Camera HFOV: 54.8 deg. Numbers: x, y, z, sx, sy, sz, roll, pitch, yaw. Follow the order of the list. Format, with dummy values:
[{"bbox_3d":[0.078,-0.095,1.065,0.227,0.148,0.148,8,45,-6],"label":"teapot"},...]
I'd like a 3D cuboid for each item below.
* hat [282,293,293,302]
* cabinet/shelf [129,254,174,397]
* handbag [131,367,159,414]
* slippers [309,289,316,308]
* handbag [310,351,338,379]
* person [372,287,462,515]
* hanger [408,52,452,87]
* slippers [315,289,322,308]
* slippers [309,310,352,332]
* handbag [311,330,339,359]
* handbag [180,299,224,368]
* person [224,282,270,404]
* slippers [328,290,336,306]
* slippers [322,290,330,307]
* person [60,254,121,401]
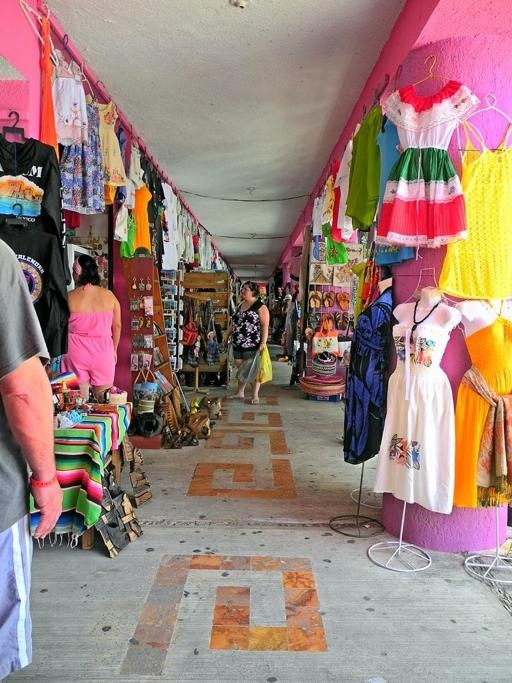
[{"bbox_3d":[0.752,-0.999,11.366,0.243,0.083,0.231,-4,-2,28],"label":"hat"},{"bbox_3d":[-0.985,-0.159,4.732,0.526,1.288,0.486,-1,4,-29],"label":"cabinet/shelf"},{"bbox_3d":[-0.993,0.457,4.469,0.231,0.390,0.302,0,3,-14],"label":"handbag"},{"bbox_3d":[0.827,-0.600,7.083,0.105,0.197,0.069,1,3,5],"label":"slippers"},{"bbox_3d":[0.915,0.313,6.596,0.254,0.359,0.353,1,-5,-1],"label":"handbag"},{"bbox_3d":[0.782,0.263,2.373,0.360,1.037,0.240,3,4,29],"label":"person"},{"bbox_3d":[0.822,-1.314,2.417,0.083,0.154,0.198,-1,4,-37],"label":"hanger"},{"bbox_3d":[0.902,-0.614,7.089,0.114,0.213,0.074,0,4,-2],"label":"slippers"},{"bbox_3d":[1.068,-0.258,6.877,0.383,0.163,0.539,0,41,0],"label":"slippers"},{"bbox_3d":[0.924,0.045,6.524,0.346,0.360,0.135,1,15,3],"label":"handbag"},{"bbox_3d":[-0.839,-0.105,7.181,0.502,1.024,1.151,2,3,10],"label":"handbag"},{"bbox_3d":[-0.086,0.006,6.544,0.567,1.568,0.787,1,3,-3],"label":"person"},{"bbox_3d":[1.107,-0.610,7.102,0.129,0.186,0.068,2,-3,-6],"label":"slippers"},{"bbox_3d":[1.032,-0.608,7.095,0.119,0.176,0.055,0,3,4],"label":"slippers"},{"bbox_3d":[-1.200,-0.083,3.703,0.247,1.090,0.454,2,3,19],"label":"person"}]
